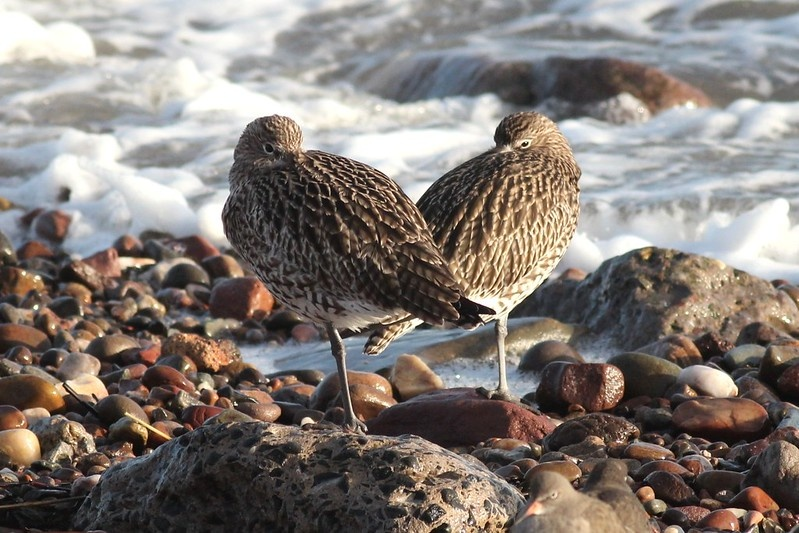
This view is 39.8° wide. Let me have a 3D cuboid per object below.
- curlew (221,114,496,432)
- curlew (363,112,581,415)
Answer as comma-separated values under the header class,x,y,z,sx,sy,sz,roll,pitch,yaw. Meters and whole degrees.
class,x,y,z,sx,sy,sz,roll,pitch,yaw
curlew,-0.268,-0.043,11.122,2.452,2.719,2.330,3,10,11
curlew,-0.385,-0.170,11.771,2.774,2.674,5.830,1,-2,-1
